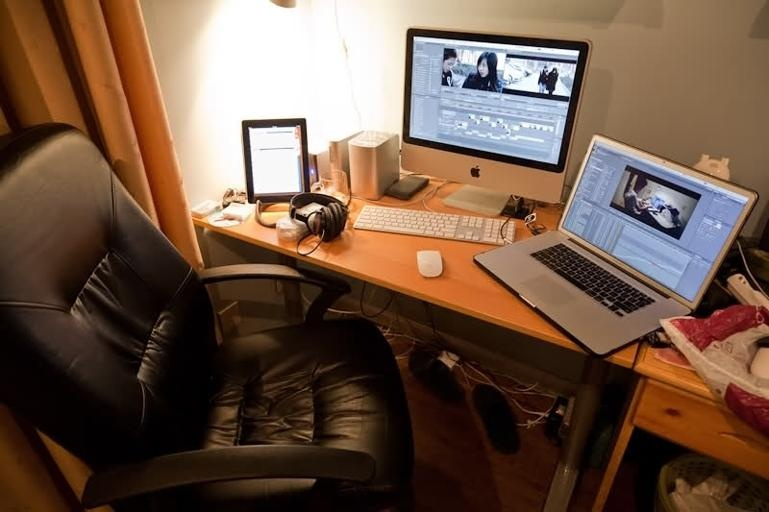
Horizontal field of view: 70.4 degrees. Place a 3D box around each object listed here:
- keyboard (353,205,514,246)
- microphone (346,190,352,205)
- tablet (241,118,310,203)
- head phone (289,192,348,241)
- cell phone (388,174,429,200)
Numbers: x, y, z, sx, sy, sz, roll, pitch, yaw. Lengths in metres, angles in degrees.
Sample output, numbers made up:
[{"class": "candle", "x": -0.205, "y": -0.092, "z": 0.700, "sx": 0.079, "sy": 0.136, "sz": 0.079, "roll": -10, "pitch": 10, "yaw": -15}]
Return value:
[{"class": "keyboard", "x": 0.165, "y": -0.113, "z": 2.087, "sx": 0.605, "sy": 0.062, "sz": 0.188, "roll": 8, "pitch": 30, "yaw": 16}, {"class": "microphone", "x": -0.144, "y": -0.235, "z": 2.226, "sx": 0.012, "sy": 0.052, "sz": 0.037, "roll": 9, "pitch": 22, "yaw": 1}, {"class": "tablet", "x": -0.435, "y": -0.386, "z": 2.149, "sx": 0.283, "sy": 0.323, "sz": 0.105, "roll": 6, "pitch": 32, "yaw": 2}, {"class": "head phone", "x": -0.255, "y": -0.155, "z": 2.036, "sx": 0.220, "sy": 0.106, "sz": 0.200, "roll": 29, "pitch": 32, "yaw": 34}, {"class": "cell phone", "x": 0.097, "y": -0.310, "z": 2.267, "sx": 0.092, "sy": 0.032, "sz": 0.161, "roll": 14, "pitch": 37, "yaw": 25}]
